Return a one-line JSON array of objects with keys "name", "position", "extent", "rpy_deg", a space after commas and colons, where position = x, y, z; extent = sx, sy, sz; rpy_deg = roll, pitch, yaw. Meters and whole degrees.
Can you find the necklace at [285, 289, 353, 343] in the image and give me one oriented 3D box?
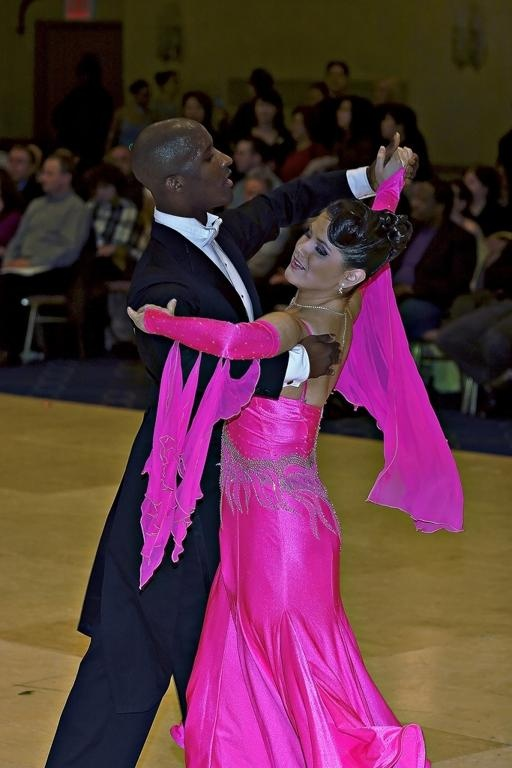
[{"name": "necklace", "position": [0.108, -0.115, 1.274], "extent": [0.105, 0.089, 0.055], "rpy_deg": [2, 26, -46]}]
